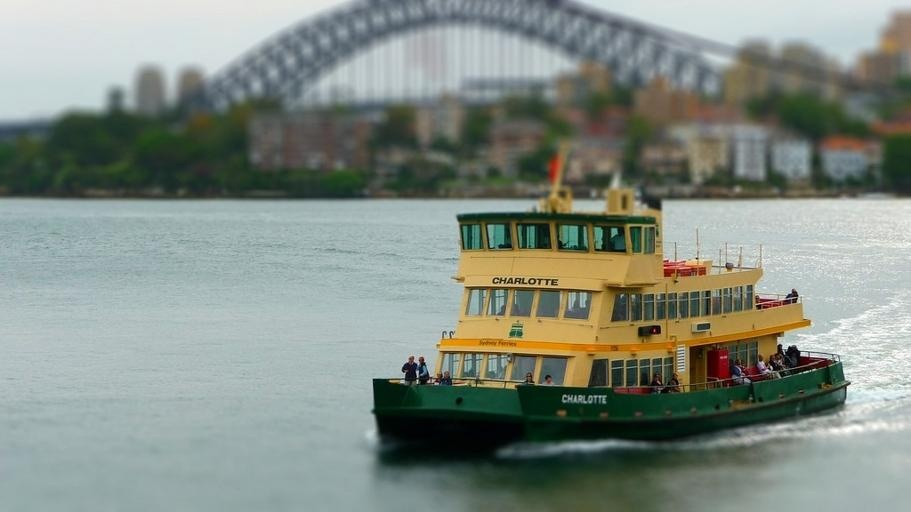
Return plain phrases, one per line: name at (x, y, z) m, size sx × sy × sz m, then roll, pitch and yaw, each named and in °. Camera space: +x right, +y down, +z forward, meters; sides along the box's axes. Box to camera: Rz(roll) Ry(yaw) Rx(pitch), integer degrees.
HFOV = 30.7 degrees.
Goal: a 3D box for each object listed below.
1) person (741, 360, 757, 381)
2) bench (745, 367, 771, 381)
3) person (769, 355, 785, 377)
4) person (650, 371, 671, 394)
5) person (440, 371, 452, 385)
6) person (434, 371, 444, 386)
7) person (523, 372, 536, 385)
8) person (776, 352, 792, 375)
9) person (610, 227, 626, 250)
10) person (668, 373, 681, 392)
person at (14.721, 5.717, 82.893) m, size 0.804 × 0.891 × 0.291 m, roll -1°, pitch -12°, yaw -2°
bench at (15.132, 5.875, 82.851) m, size 0.952 × 0.817 × 0.745 m, roll -1°, pitch 1°, yaw 29°
person at (16.102, 5.479, 83.246) m, size 0.838 × 1.037 × 0.455 m, roll -9°, pitch 5°, yaw 31°
person at (9.916, 6.186, 80.146) m, size 1.250 × 1.070 × 0.741 m, roll -1°, pitch 5°, yaw -29°
person at (-0.386, 5.803, 79.583) m, size 0.563 × 0.596 × 1.028 m, roll 0°, pitch -1°, yaw -3°
person at (-0.731, 5.871, 79.745) m, size 0.535 × 0.831 × 0.523 m, roll -1°, pitch -8°, yaw 6°
person at (3.583, 5.792, 79.055) m, size 0.752 × 0.754 × 0.420 m, roll 1°, pitch -37°, yaw 2°
person at (16.521, 5.390, 83.547) m, size 0.793 × 1.105 × 0.437 m, roll 6°, pitch 15°, yaw 36°
person at (7.895, -0.841, 79.596) m, size 1.252 × 1.186 × 0.715 m, roll 0°, pitch -2°, yaw 1°
person at (10.669, 6.134, 80.344) m, size 0.688 × 0.822 × 0.868 m, roll 7°, pitch 7°, yaw 4°
